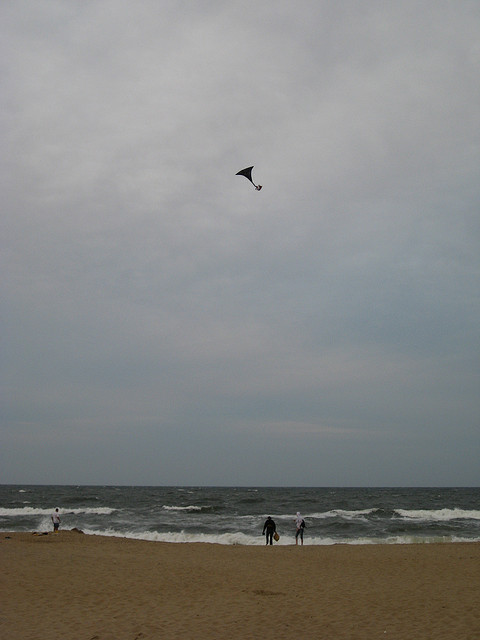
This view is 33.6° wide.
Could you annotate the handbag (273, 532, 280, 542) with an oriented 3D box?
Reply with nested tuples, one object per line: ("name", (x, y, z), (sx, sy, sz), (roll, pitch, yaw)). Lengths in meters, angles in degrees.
("handbag", (1.252, 7.478, 27.491), (0.255, 0.244, 0.297), (1, 26, 2))
